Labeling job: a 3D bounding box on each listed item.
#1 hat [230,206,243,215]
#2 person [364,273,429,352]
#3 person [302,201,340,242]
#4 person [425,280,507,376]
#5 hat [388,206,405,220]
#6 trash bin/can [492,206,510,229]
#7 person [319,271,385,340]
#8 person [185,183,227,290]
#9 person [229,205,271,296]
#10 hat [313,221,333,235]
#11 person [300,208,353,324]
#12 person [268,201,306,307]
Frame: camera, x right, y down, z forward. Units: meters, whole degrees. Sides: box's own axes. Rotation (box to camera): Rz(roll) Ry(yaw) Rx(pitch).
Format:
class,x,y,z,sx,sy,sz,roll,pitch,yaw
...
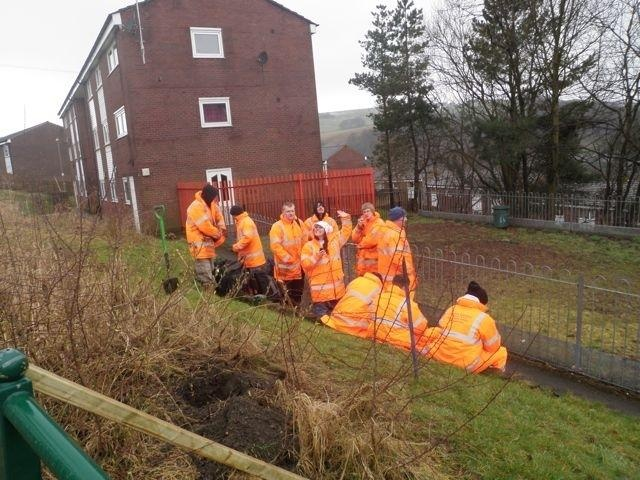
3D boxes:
class,x,y,z,sx,sy,sz,roll,pitch,yaw
hat,-1.605,-0.577,9.402,0.145,0.173,0.193,16,27,37
person,0.985,1.061,6.757,0.805,1.094,1.156,5,2,18
person,0.021,-0.298,9.560,0.734,0.835,0.422,-11,-27,1
person,2.150,1.242,7.174,1.188,1.358,0.810,13,16,41
hat,1.385,-0.466,8.625,0.213,0.237,0.220,-7,25,8
trash bin/can,7.592,-0.935,20.400,0.770,1.137,0.793,-3,3,-4
person,0.609,1.002,7.687,0.890,0.447,1.216,10,49,33
person,-2.180,-0.112,9.162,0.675,1.817,1.334,-2,9,-2
person,-1.309,0.134,9.242,0.699,1.547,1.471,-3,9,-11
hat,0.084,-0.213,8.556,0.204,0.250,0.479,4,11,31
person,0.194,0.730,8.751,0.818,2.461,0.669,-11,15,-16
person,-0.558,0.246,9.198,0.510,1.893,0.944,3,10,26
